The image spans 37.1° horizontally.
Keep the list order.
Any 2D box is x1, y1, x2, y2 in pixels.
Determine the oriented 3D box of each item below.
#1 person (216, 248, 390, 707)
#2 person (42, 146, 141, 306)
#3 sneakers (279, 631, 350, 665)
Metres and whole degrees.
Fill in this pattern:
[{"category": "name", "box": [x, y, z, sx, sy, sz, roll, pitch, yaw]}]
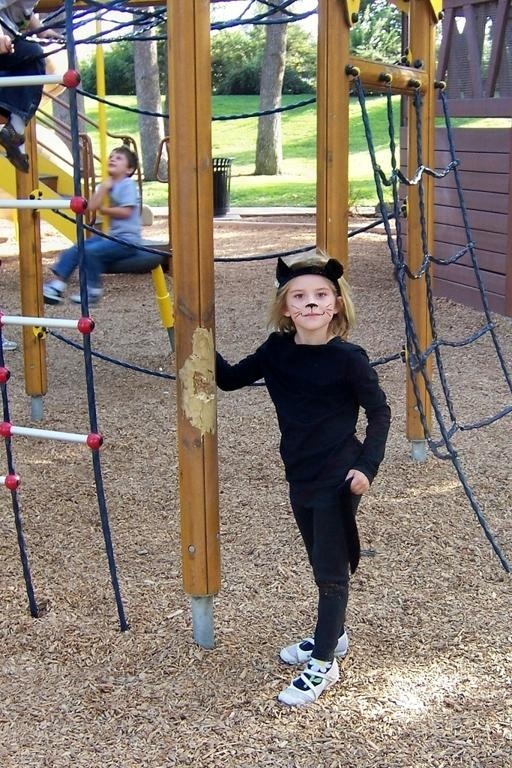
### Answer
[{"category": "person", "box": [0.121, 0.225, 1.866, 0.358, 1.049, 0.447, -4, 14, -14]}, {"category": "person", "box": [-0.998, -0.972, 4.659, 0.571, 1.030, 1.520, -3, 13, -8]}, {"category": "sneakers", "box": [0.161, 0.683, 2.027, 0.199, 0.076, 0.074, -1, 5, -16]}]
